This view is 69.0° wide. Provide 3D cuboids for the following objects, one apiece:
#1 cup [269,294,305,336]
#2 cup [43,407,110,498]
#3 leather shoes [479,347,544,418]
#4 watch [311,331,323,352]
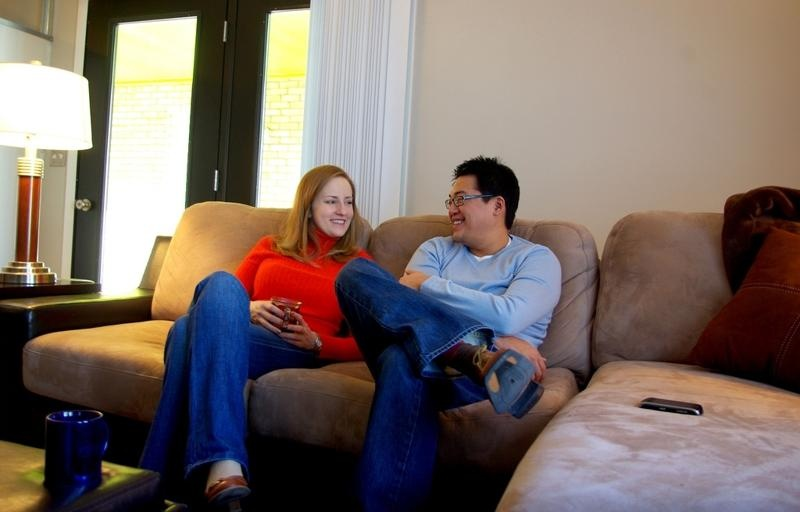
[{"bbox_3d":[-0.472,0.243,2.450,0.148,0.174,0.130,6,-11,-22],"label":"cup"},{"bbox_3d":[-0.899,0.559,1.613,0.151,0.198,0.092,0,8,-23],"label":"cup"},{"bbox_3d":[0.368,0.419,1.908,0.243,0.158,0.078,40,-10,-32],"label":"leather shoes"},{"bbox_3d":[-0.352,0.371,2.466,0.027,0.058,0.066,-3,54,-19],"label":"watch"}]
